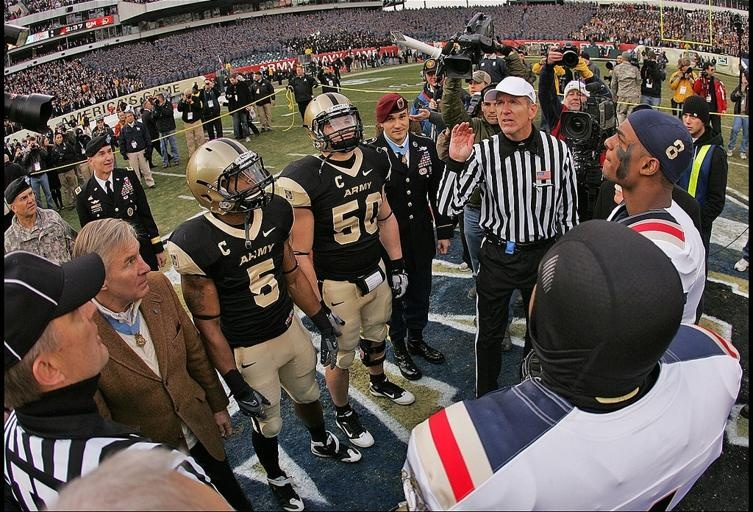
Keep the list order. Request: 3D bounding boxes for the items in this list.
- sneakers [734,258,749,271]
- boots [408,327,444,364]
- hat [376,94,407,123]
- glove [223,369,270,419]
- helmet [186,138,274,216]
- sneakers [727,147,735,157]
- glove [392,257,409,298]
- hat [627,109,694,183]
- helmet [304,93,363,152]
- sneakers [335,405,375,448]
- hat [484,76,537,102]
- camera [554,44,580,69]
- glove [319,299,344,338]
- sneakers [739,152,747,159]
[{"bbox_3d":[4.263,0.083,5.981,0.162,0.121,0.050,-41,-30,24],"label":"sneakers"},{"bbox_3d":[0.482,0.846,5.109,0.428,0.334,0.153,19,34,32],"label":"boots"},{"bbox_3d":[0.120,-1.324,4.642,0.221,0.119,0.272,-39,14,-21],"label":"hat"},{"bbox_3d":[-0.874,0.906,3.435,0.217,0.424,0.194,0,22,17],"label":"glove"},{"bbox_3d":[-0.993,-0.571,3.404,0.552,0.457,0.437,13,28,21],"label":"helmet"},{"bbox_3d":[7.266,-2.162,10.520,0.129,0.180,0.407,13,27,32],"label":"sneakers"},{"bbox_3d":[0.222,0.146,4.507,0.095,0.191,0.237,-30,15,15],"label":"glove"},{"bbox_3d":[1.594,-0.635,2.900,0.324,0.381,0.283,4,24,26],"label":"hat"},{"bbox_3d":[-0.367,-1.111,4.118,0.459,0.449,0.555,-20,20,-22],"label":"helmet"},{"bbox_3d":[-0.211,1.407,4.328,0.170,0.181,0.457,-19,25,-31],"label":"sneakers"},{"bbox_3d":[1.116,-1.290,4.028,0.302,0.160,0.229,19,1,-32],"label":"hat"},{"bbox_3d":[2.241,-2.371,6.056,0.322,0.225,0.382,6,39,4],"label":"camera"},{"bbox_3d":[-0.355,0.466,4.026,0.090,0.244,0.183,-44,-2,5],"label":"glove"},{"bbox_3d":[7.336,-2.039,10.268,0.071,0.090,0.211,-7,37,26],"label":"sneakers"}]
